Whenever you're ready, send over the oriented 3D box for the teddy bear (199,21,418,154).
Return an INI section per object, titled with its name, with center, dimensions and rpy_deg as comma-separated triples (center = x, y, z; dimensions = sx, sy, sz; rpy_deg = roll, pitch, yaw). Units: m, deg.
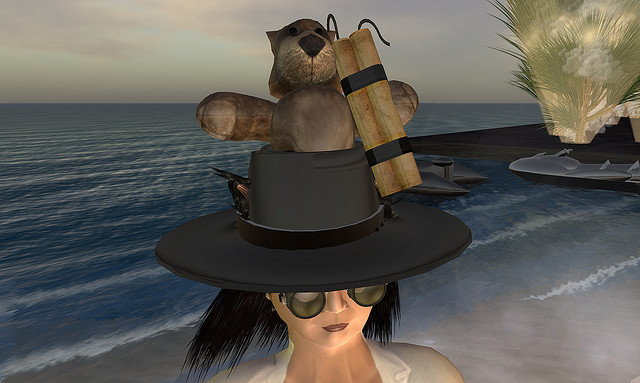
[teddy bear]
center = -0.096, -0.778, 2.705
dimensions = 1.406, 0.948, 0.740
rpy_deg = -1, 20, 16
